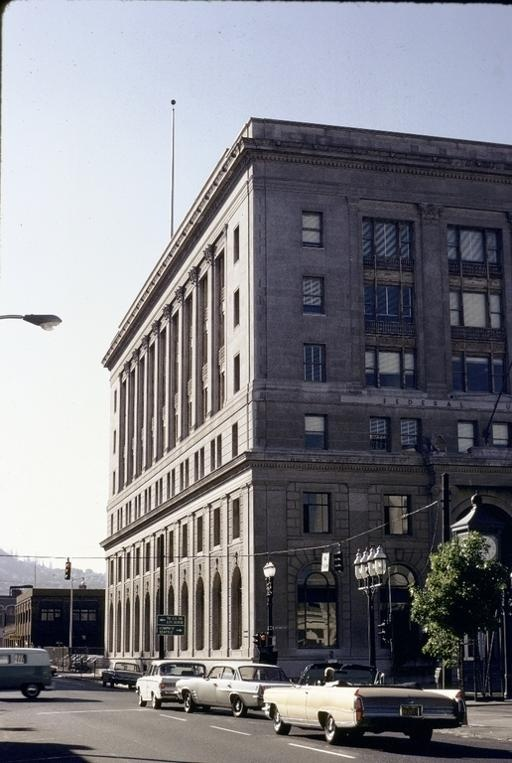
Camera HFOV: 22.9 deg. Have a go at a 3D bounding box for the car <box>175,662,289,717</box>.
[{"bbox_3d":[-0.660,8.426,35.264,1.499,1.279,3.536,8,-16,-29],"label":"car"}]

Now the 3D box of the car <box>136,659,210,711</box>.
[{"bbox_3d":[-2.784,9.932,41.524,1.697,1.594,3.246,6,-14,-19],"label":"car"}]
